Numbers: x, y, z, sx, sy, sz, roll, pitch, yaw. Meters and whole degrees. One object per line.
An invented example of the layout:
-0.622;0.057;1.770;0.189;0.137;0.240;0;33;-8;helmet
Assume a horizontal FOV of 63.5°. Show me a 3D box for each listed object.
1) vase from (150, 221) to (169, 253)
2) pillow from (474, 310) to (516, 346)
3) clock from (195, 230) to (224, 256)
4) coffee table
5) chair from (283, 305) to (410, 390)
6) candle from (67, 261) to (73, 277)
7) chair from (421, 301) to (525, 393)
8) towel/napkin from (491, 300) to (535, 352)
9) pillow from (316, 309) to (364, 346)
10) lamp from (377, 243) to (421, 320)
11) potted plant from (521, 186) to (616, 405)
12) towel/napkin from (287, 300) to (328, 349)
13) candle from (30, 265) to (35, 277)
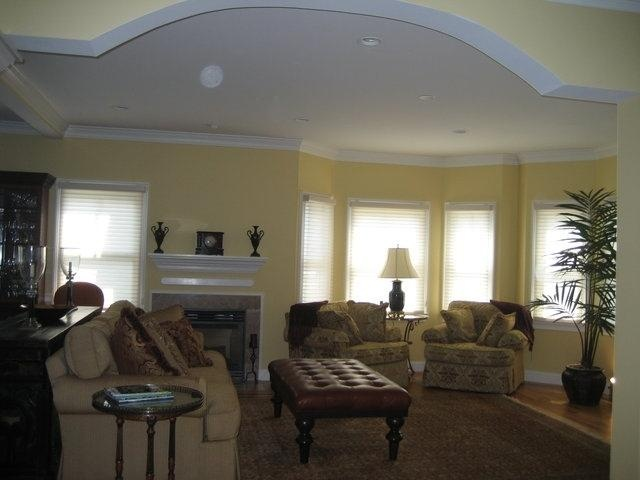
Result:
-2.009;-0.029;6.441;0.217;0.411;0.229;2;0;-6;vase
2.166;1.111;6.377;0.159;0.411;0.407;24;28;24;pillow
-1.362;0.070;6.597;0.461;0.447;0.261;1;-3;-11;clock
0.110;1.475;4.612;0.926;0.699;1.258;2;0;-15;coffee table
0.291;1.136;6.360;1.233;1.167;1.142;5;-8;-34;chair
-2.163;0.265;4.492;0.038;0.154;0.070;2;0;-27;candle
2.041;1.370;6.642;1.294;1.079;1.192;1;-8;18;chair
2.636;0.956;6.890;0.225;0.642;0.666;-24;-44;36;towel/napkin
0.244;1.039;6.147;0.536;0.369;0.246;2;0;-1;pillow
1.049;0.556;7.094;0.587;0.994;0.592;3;-2;-45;lamp
3.066;0.595;6.218;0.872;1.901;1.618;1;0;25;potted plant
-0.204;1.001;6.192;0.389;0.526;0.185;6;-5;-30;towel/napkin
-2.075;0.222;3.735;0.032;0.099;0.019;2;0;-30;candle
